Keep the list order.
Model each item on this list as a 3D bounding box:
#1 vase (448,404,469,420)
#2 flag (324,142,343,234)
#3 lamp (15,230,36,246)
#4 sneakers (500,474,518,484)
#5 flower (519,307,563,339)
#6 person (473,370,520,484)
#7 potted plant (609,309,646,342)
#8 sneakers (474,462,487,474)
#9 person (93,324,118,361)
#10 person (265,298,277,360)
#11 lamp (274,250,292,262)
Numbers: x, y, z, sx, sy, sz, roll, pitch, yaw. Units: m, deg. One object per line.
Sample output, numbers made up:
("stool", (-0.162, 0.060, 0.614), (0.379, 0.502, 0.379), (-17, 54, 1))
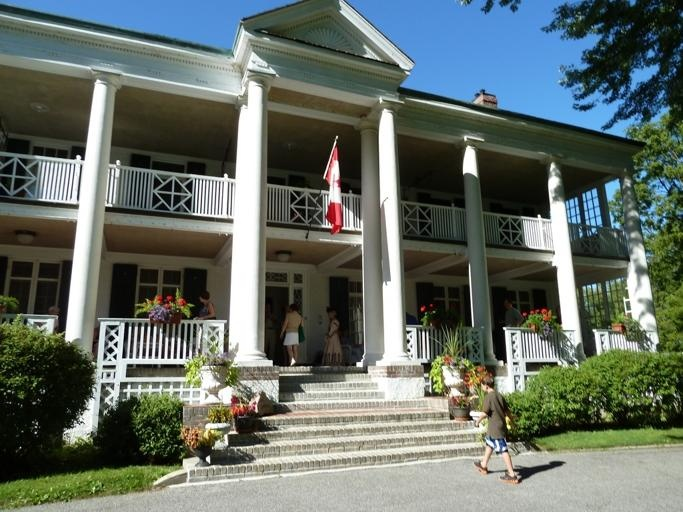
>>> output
("vase", (2.984, 3.955, 12.777), (0.348, 0.228, 0.359), (-12, -22, 35))
("flag", (-0.243, -2.031, 14.763), (0.441, 2.754, 1.288), (0, 0, -2))
("lamp", (-9.247, -0.552, 14.683), (0.486, 0.301, 0.500), (-11, -13, 38))
("sneakers", (3.036, 4.006, 9.121), (0.116, 0.135, 0.272), (6, -7, -36))
("flower", (6.507, 2.177, 16.608), (1.033, 0.809, 1.094), (-1, 2, -14))
("person", (2.984, 3.326, 9.699), (0.769, 2.013, 1.444), (0, 0, 9))
("potted plant", (10.136, 2.518, 18.059), (0.911, 0.763, 1.036), (3, -7, -17))
("sneakers", (2.698, 4.087, 9.739), (0.101, 0.127, 0.285), (3, -6, -11))
("person", (-5.980, 2.109, 12.897), (0.495, 0.997, 1.367), (0, 0, -25))
("person", (-2.583, 2.723, 18.502), (0.425, 2.297, 1.449), (0, 0, -8))
("lamp", (-1.973, -0.012, 17.188), (0.413, 0.260, 0.431), (3, -11, -4))
